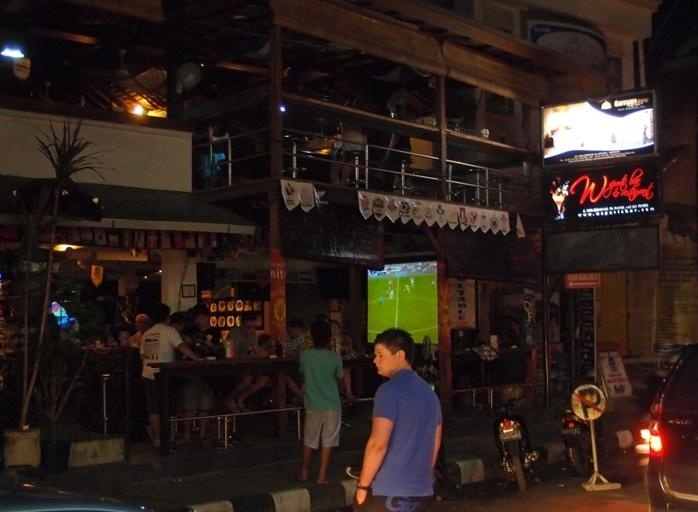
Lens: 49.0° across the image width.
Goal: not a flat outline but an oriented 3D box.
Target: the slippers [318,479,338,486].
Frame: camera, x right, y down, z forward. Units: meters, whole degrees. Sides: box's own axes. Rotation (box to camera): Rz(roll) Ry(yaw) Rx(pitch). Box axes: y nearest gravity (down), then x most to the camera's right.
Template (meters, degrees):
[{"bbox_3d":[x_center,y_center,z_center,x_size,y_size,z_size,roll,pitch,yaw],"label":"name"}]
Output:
[{"bbox_3d":[-0.338,3.602,12.244,0.283,0.078,0.120,5,-6,-24],"label":"slippers"}]

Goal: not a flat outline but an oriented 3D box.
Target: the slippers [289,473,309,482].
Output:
[{"bbox_3d":[-0.846,3.635,12.482,0.299,0.091,0.124,2,2,37],"label":"slippers"}]

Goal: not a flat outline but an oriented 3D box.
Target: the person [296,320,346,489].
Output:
[{"bbox_3d":[-0.449,2.332,12.300,0.675,2.604,0.488,-1,-7,-2],"label":"person"}]
